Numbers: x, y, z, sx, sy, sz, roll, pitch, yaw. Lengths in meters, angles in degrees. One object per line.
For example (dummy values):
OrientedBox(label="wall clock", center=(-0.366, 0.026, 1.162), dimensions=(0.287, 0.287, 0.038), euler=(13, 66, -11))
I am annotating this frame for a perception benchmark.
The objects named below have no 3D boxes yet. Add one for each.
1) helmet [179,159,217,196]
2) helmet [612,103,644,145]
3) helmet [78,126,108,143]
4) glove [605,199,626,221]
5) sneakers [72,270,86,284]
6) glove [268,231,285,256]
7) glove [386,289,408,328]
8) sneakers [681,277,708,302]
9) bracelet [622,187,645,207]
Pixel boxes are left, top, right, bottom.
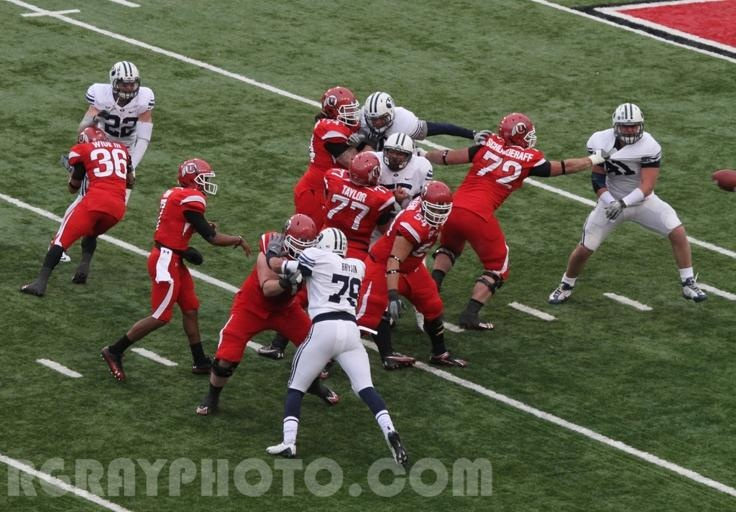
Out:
OrientedBox(label="helmet", center=(-1.735, -0.807, 11.843), dimensions=(0.488, 0.269, 0.282), euler=(4, 10, 6))
OrientedBox(label="helmet", center=(2.814, -1.377, 12.838), dimensions=(0.384, 0.337, 0.432), euler=(0, -10, 10))
OrientedBox(label="helmet", center=(-3.054, -1.328, 12.932), dimensions=(0.271, 0.195, 0.186), euler=(-18, 27, 8))
OrientedBox(label="glove", center=(2.637, -0.496, 12.724), dimensions=(0.168, 0.244, 0.093), euler=(46, 1, 3))
OrientedBox(label="sneakers", center=(-3.186, 0.239, 12.963), dimensions=(0.153, 0.139, 0.088), euler=(16, -12, 4))
OrientedBox(label="glove", center=(-0.870, -0.107, 11.071), dimensions=(0.167, 0.197, 0.245), euler=(12, 21, -4))
OrientedBox(label="glove", center=(0.203, 0.510, 11.724), dimensions=(0.163, 0.293, 0.275), euler=(7, 12, 30))
OrientedBox(label="sneakers", center=(3.524, 0.379, 12.882), dimensions=(0.157, 0.183, 0.403), euler=(-34, 15, -9))
OrientedBox(label="bracelet", center=(2.849, -0.628, 12.745), dimensions=(0.284, 0.142, 0.119), euler=(-28, -13, 1))
